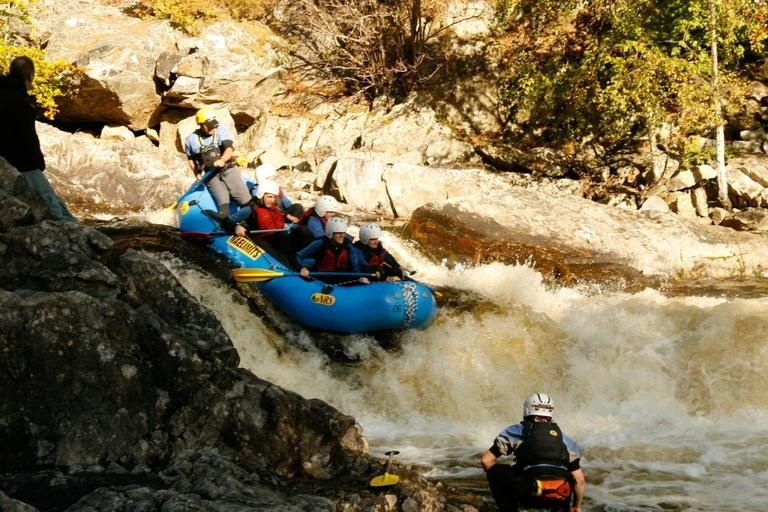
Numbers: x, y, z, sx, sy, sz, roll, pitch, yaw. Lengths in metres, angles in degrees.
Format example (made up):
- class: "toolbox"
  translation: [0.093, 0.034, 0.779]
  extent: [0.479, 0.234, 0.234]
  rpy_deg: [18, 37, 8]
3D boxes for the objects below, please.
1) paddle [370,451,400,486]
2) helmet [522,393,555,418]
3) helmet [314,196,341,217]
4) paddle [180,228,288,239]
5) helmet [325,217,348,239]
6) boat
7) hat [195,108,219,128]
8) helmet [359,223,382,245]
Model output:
- class: "paddle"
  translation: [0.043, 3.045, 13.941]
  extent: [0.415, 0.410, 0.466]
  rpy_deg: [5, 10, 25]
- class: "helmet"
  translation: [2.159, 2.097, 13.926]
  extent: [0.377, 0.312, 0.389]
  rpy_deg: [9, 12, -6]
- class: "helmet"
  translation: [-1.019, -0.931, 17.883]
  extent: [0.498, 0.332, 0.321]
  rpy_deg: [-17, 14, 14]
- class: "paddle"
  translation: [-2.689, -0.402, 17.565]
  extent: [1.727, 0.176, 0.076]
  rpy_deg: [-2, -29, -7]
- class: "helmet"
  translation: [-0.745, -0.509, 17.027]
  extent: [0.437, 0.279, 0.318]
  rpy_deg: [15, 17, 32]
- class: "boat"
  translation: [-1.739, 0.229, 17.323]
  extent: [4.346, 0.817, 2.173]
  rpy_deg: [28, 31, 25]
- class: "hat"
  translation: [-3.172, -2.510, 17.793]
  extent: [0.370, 0.282, 0.426]
  rpy_deg: [-1, 8, -8]
- class: "helmet"
  translation: [-0.240, -0.409, 17.184]
  extent: [0.462, 0.297, 0.324]
  rpy_deg: [6, 14, 31]
